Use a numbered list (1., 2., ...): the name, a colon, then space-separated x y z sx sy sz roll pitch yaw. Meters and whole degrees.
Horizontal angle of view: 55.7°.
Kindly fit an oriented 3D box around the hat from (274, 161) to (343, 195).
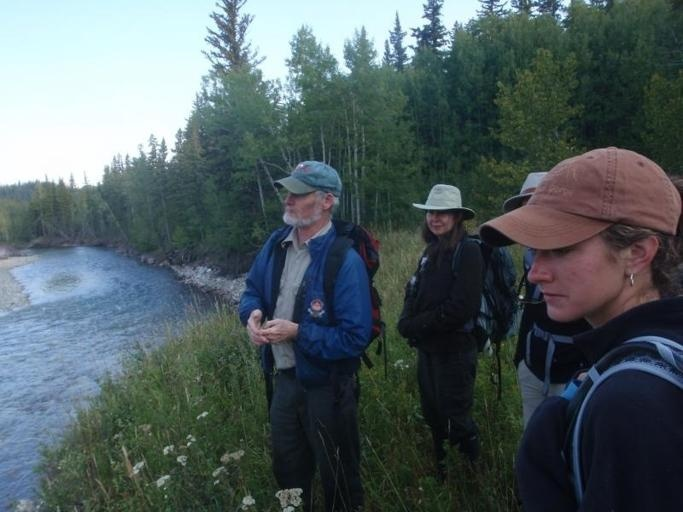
1. hat: -0.638 -1.598 13.497 1.044 0.632 0.720 3 4 -20
